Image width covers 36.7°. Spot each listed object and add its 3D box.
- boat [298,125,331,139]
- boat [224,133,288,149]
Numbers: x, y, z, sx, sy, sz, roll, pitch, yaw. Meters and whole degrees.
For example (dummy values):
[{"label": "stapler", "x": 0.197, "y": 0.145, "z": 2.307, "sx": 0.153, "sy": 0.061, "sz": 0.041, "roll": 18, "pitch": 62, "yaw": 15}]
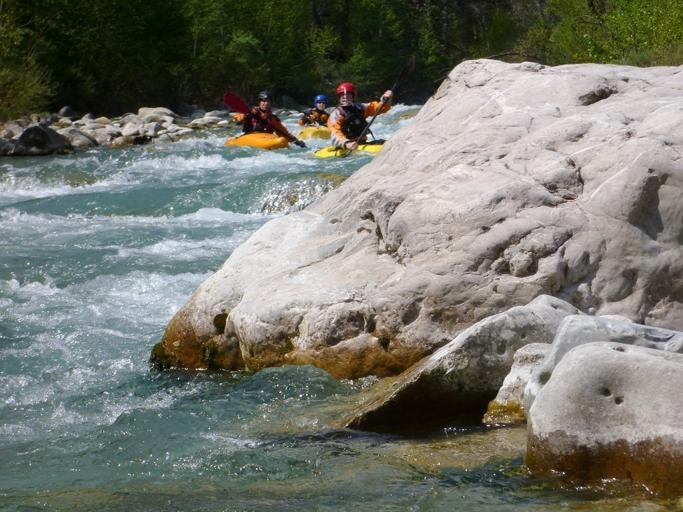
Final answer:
[{"label": "boat", "x": -0.581, "y": -2.792, "z": 23.543, "sx": 0.508, "sy": 0.160, "sz": 0.666, "roll": -6, "pitch": 6, "yaw": -29}, {"label": "boat", "x": -1.724, "y": -2.393, "z": 21.630, "sx": 0.560, "sy": 0.218, "sz": 1.051, "roll": -14, "pitch": 18, "yaw": -42}]
